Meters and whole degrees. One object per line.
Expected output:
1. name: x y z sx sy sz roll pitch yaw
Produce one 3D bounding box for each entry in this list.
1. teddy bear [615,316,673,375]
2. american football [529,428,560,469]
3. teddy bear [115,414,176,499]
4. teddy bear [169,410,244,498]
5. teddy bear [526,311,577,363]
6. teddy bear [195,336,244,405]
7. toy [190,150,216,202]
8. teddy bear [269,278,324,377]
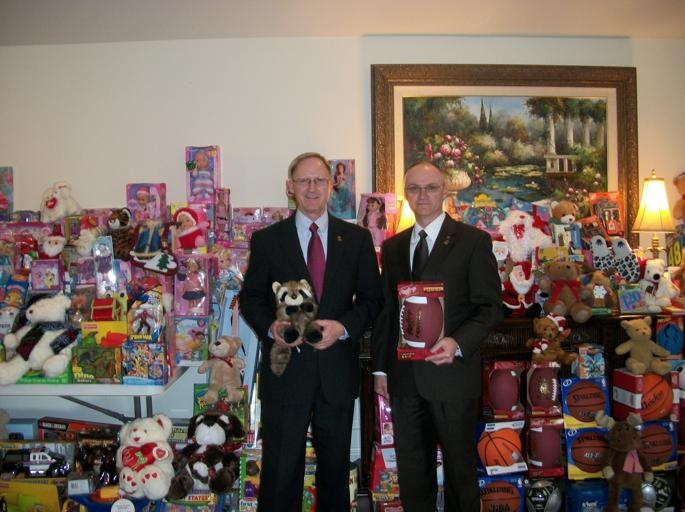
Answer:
1. teddy bear: 2.016 0.600 3.844 0.388 0.385 0.149 -2 2 -15
2. american football: 1.305 1.240 3.850 0.190 0.274 0.255 3 4 10
3. teddy bear: -1.236 1.271 3.619 0.364 0.545 0.298 -2 -17 -6
4. teddy bear: -0.871 1.259 3.693 0.372 0.559 0.363 9 -8 -2
5. teddy bear: 1.334 0.536 3.871 0.324 0.427 0.299 -2 4 5
6. teddy bear: -0.787 0.743 3.821 0.295 0.421 0.319 -3 2 34
7. toy: -1.028 -0.579 4.246 0.186 0.385 0.132 -1 4 -2
8. teddy bear: -0.271 0.392 3.180 0.326 0.186 0.572 4 47 6
